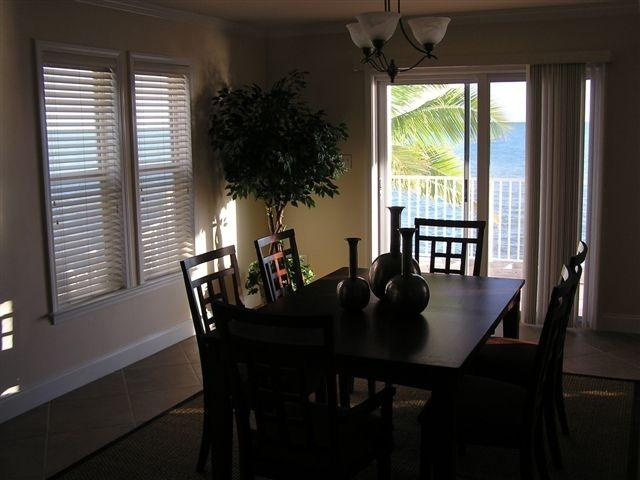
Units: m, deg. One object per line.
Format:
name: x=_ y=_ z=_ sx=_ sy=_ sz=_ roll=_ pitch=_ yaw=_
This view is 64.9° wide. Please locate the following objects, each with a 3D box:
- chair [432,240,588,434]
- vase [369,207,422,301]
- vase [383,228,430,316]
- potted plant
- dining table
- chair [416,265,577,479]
chair: x=1.249 y=0.406 z=3.476 sx=0.997 sy=1.604 sz=0.848 roll=4 pitch=11 yaw=28
vase: x=0.444 y=0.090 z=2.988 sx=0.272 sy=0.544 sz=0.302 roll=5 pitch=-1 yaw=-2
vase: x=0.480 y=0.177 z=2.757 sx=0.228 sy=0.458 sz=0.262 roll=-2 pitch=-5 yaw=10
potted plant: x=-0.587 y=-0.704 z=5.841 sx=1.650 sy=3.045 sz=1.882 roll=-4 pitch=10 yaw=-13
dining table: x=0.326 y=0.200 z=2.594 sx=0.964 sy=0.707 sz=1.525 roll=2 pitch=9 yaw=22
chair: x=0.948 y=0.764 z=2.602 sx=0.594 sy=1.185 sz=1.155 roll=6 pitch=15 yaw=28
